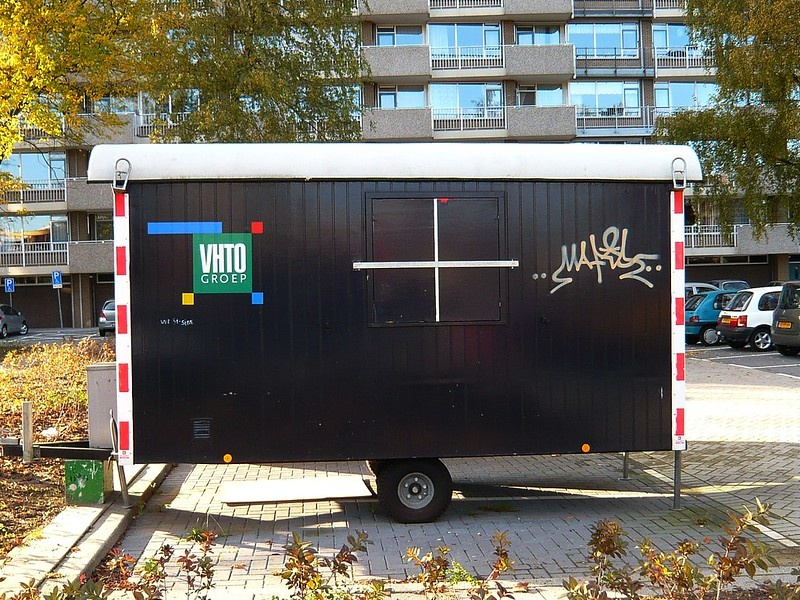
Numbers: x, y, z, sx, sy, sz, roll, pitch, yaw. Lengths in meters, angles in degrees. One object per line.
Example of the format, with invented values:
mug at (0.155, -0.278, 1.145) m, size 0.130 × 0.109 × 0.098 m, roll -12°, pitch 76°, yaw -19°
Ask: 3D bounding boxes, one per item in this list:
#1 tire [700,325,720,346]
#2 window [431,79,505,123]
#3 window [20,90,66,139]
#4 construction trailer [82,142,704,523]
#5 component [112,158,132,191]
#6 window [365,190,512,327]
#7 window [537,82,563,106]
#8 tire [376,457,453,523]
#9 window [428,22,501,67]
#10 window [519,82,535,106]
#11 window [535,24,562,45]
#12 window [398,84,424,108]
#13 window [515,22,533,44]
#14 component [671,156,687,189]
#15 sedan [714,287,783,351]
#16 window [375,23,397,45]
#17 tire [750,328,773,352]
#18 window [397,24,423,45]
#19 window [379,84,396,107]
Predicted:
tire at (9.011, 1.028, 27.769) m, size 0.455 × 0.490 × 0.176 m, roll 28°, pitch 7°, yaw 15°
window at (2.831, -8.661, 42.129) m, size 2.796 × 1.542 × 1.561 m, roll 0°, pitch 1°, yaw -3°
window at (-6.900, -3.621, 18.481) m, size 0.858 × 0.711 × 0.943 m, roll -3°, pitch 4°, yaw 1°
construction trailer at (-0.010, 0.215, 13.558) m, size 6.641 × 4.874 × 4.100 m, roll -1°, pitch 3°, yaw -3°
component at (-3.249, -1.459, 11.183) m, size 0.189 × 0.383 × 0.194 m, roll 1°, pitch 1°, yaw -3°
window at (0.431, -0.455, 11.461) m, size 1.874 × 1.664 × 0.238 m, roll 0°, pitch 24°, yaw 4°
window at (6.533, -8.992, 41.815) m, size 1.157 × 0.980 × 0.051 m, roll -1°, pitch -1°, yaw 0°
tire at (0.189, 2.382, 11.586) m, size 0.865 × 0.351 × 0.969 m, roll 3°, pitch 52°, yaw 6°
window at (2.672, -11.062, 41.565) m, size 2.134 × 1.462 × 0.093 m, roll -1°, pitch -8°, yaw -5°
window at (5.539, -8.965, 41.762) m, size 0.806 × 0.873 × 0.868 m, roll 0°, pitch 1°, yaw 1°
window at (6.527, -11.761, 42.275) m, size 1.109 × 1.101 × 0.126 m, roll -3°, pitch 9°, yaw 0°
window at (0.410, -8.720, 40.938) m, size 0.951 × 0.774 × 0.066 m, roll -3°, pitch 8°, yaw -4°
window at (5.437, -11.792, 42.139) m, size 0.842 × 1.074 × 0.115 m, roll -2°, pitch 16°, yaw 2°
component at (3.378, -1.535, 11.546) m, size 0.178 × 0.374 × 0.074 m, roll -2°, pitch 3°, yaw -4°
sedan at (9.126, 0.465, 25.592) m, size 1.887 × 1.109 × 1.094 m, roll -8°, pitch 7°, yaw -12°
window at (-0.616, -11.513, 41.369) m, size 0.835 × 0.881 × 0.716 m, roll 0°, pitch 13°, yaw -2°
tire at (9.601, 1.042, 25.396) m, size 0.568 × 0.644 × 0.215 m, roll -3°, pitch 10°, yaw -4°
window at (0.393, -11.510, 41.405) m, size 0.882 × 0.705 × 0.021 m, roll -2°, pitch 7°, yaw -2°
window at (-0.558, -8.740, 40.774) m, size 0.903 × 1.127 × 0.051 m, roll -1°, pitch 25°, yaw 2°
